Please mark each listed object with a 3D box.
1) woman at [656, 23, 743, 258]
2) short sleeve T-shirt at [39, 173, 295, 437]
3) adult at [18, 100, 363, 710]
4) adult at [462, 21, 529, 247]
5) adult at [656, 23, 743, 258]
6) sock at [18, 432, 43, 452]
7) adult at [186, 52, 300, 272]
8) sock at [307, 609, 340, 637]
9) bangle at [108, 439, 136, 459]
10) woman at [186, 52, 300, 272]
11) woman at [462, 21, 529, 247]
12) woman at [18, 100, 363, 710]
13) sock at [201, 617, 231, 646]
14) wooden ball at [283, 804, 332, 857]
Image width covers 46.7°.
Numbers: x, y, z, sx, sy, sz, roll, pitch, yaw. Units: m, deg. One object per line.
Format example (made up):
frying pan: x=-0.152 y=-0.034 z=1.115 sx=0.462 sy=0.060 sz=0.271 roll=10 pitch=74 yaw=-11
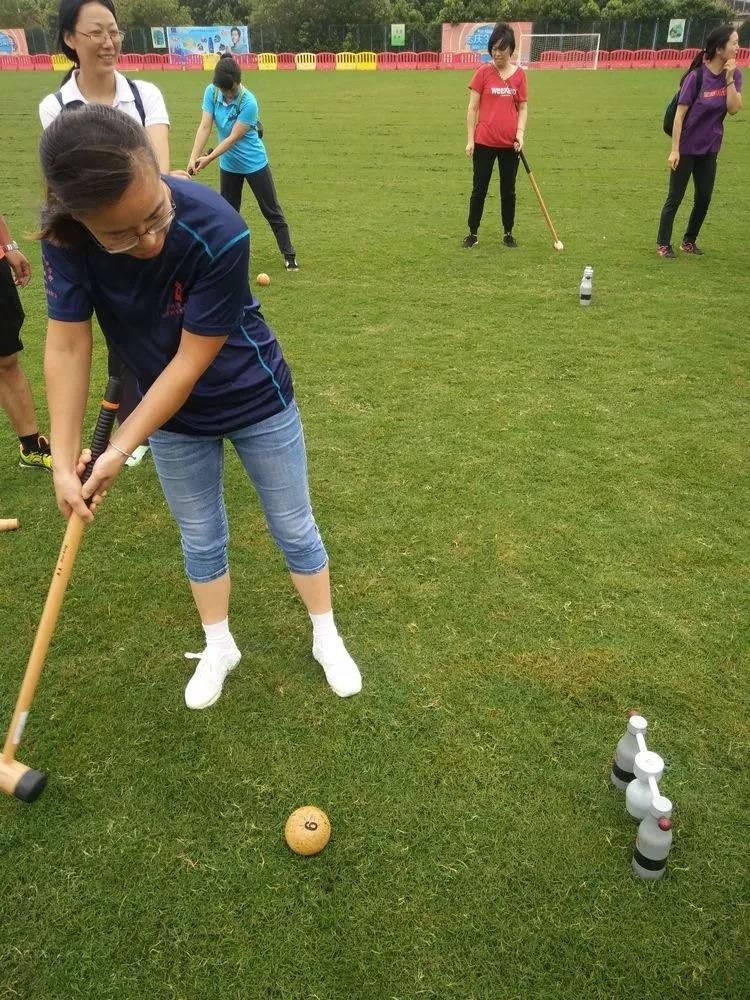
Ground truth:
woman: x=2.796 y=-3.071 z=7.581 sx=0.581 sy=1.894 sz=0.783 roll=9 pitch=30 yaw=16
short sleeve T-shirt: x=-0.560 y=-0.488 z=2.357 sx=0.637 sy=0.748 sz=0.393 roll=-4 pitch=29 yaw=-6
adult: x=-0.519 y=-0.138 z=2.489 sx=0.700 sy=1.893 sz=0.859 roll=17 pitch=38 yaw=28
adult: x=1.114 y=-3.326 z=8.042 sx=0.536 sy=1.927 sz=1.054 roll=2 pitch=29 yaw=5
adult: x=2.798 y=-3.071 z=7.581 sx=0.582 sy=1.894 sz=0.786 roll=9 pitch=30 yaw=16
sock: x=-1.763 y=-0.293 z=4.437 sx=0.066 sy=0.116 sz=0.107 roll=20 pitch=15 yaw=31
adult: x=-1.083 y=-2.731 z=7.254 sx=0.784 sy=1.690 sz=0.800 roll=4 pitch=36 yaw=5
sock: x=-0.176 y=0.447 z=3.040 sx=0.083 sy=0.087 sz=0.097 roll=-9 pitch=70 yaw=-9
bangle: x=-0.701 y=-0.135 z=2.401 sx=0.062 sy=0.034 sz=0.056 roll=34 pitch=25 yaw=28
woman: x=-1.076 y=-2.754 z=7.266 sx=0.789 sy=1.710 sz=0.804 roll=1 pitch=36 yaw=1
woman: x=1.114 y=-3.326 z=8.042 sx=0.536 sy=1.927 sz=1.054 roll=2 pitch=29 yaw=5
woman: x=-0.525 y=-0.149 z=2.491 sx=0.699 sy=1.912 sz=0.855 roll=19 pitch=40 yaw=30
sock: x=-0.550 y=0.461 z=2.988 sx=0.080 sy=0.093 sz=0.086 roll=-12 pitch=67 yaw=-13
wooden ball: x=-0.193 y=0.943 z=2.470 sx=0.117 sy=0.128 sz=0.067 roll=-21 pitch=-12 yaw=7
